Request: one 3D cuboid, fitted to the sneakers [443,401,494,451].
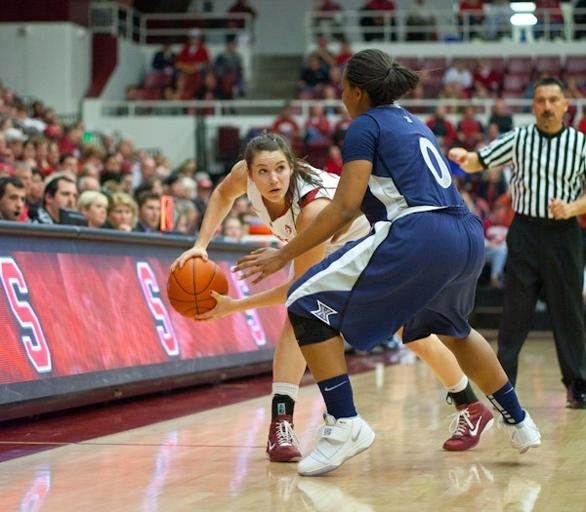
[{"bbox_3d":[0.793,0.783,3.453,0.351,0.162,0.119,-23,6,-41],"label":"sneakers"}]

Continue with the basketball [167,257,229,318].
[{"bbox_3d":[-0.430,0.140,3.338,0.240,0.274,0.171,0,-1,13],"label":"basketball"}]

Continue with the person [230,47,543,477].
[{"bbox_3d":[0.349,0.016,3.230,1.032,1.725,0.975,-4,1,-29],"label":"person"}]

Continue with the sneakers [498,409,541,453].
[{"bbox_3d":[0.968,0.759,3.231,0.095,0.123,0.264,-26,-2,8],"label":"sneakers"}]

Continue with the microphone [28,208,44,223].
[{"bbox_3d":[-1.644,-0.271,4.806,0.094,0.131,0.505,1,-2,-19],"label":"microphone"}]

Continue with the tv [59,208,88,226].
[{"bbox_3d":[-1.317,-0.232,4.511,0.123,0.104,0.196,1,-1,9],"label":"tv"}]

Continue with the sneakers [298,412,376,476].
[{"bbox_3d":[0.155,0.730,3.001,0.383,0.192,0.128,-21,16,-36],"label":"sneakers"}]
